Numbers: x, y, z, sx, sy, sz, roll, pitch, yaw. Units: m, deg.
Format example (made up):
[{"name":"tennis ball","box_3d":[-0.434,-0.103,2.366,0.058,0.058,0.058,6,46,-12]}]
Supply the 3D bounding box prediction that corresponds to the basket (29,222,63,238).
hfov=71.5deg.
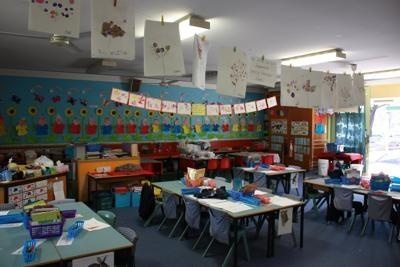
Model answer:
[{"name":"basket","box_3d":[-2.369,1.461,4.295,0.337,0.126,0.251,0,-2,-28]}]
